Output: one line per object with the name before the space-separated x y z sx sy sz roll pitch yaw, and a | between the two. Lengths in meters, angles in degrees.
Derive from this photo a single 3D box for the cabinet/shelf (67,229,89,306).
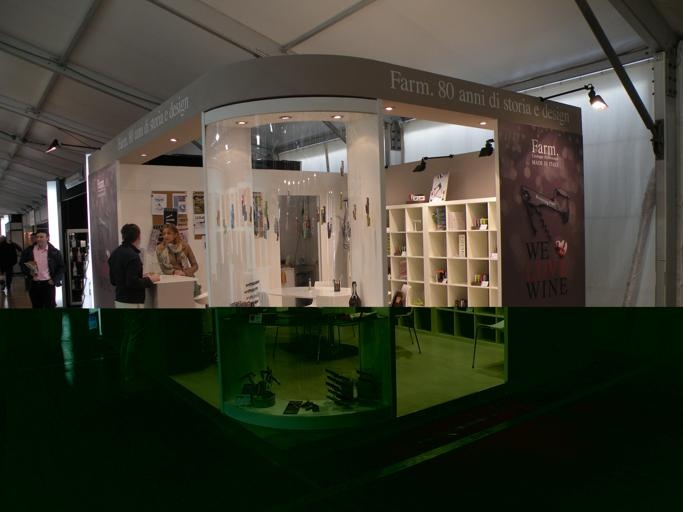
cabinet/shelf | -6.345 0.282 12.204 0.834 1.803 0.439 -1 -4 21

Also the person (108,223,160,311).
person | -2.370 0.123 5.805 0.525 0.945 0.736 2 -3 -24

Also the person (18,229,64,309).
person | -4.633 0.191 7.869 0.580 1.183 0.423 3 -4 -35

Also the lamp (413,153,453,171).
lamp | 1.505 -1.605 8.805 0.465 0.296 0.929 1 -1 -18

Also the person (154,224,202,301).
person | -2.386 0.130 7.328 0.451 1.101 0.591 -12 -2 -4
